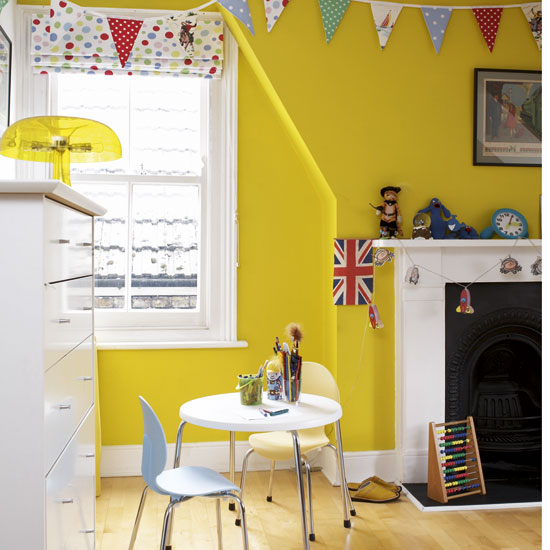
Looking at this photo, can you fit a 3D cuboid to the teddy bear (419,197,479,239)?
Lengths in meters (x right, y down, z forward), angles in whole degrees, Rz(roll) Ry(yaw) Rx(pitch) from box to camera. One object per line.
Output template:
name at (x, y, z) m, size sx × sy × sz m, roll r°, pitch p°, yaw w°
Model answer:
teddy bear at (0.940, -0.291, 3.561) m, size 0.350 × 0.303 × 0.172 m, roll 4°, pitch -3°, yaw 3°

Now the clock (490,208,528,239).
clock at (1.310, -0.291, 3.597) m, size 0.240 × 0.160 × 0.089 m, roll -2°, pitch 5°, yaw -19°

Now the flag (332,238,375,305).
flag at (0.428, -0.023, 3.539) m, size 0.258 × 0.511 × 0.022 m, roll 0°, pitch 2°, yaw -3°

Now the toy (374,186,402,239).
toy at (0.611, -0.346, 3.560) m, size 0.151 × 0.275 × 0.084 m, roll 1°, pitch 5°, yaw 11°

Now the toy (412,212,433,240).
toy at (0.804, -0.270, 3.542) m, size 0.109 × 0.151 × 0.111 m, roll 5°, pitch 1°, yaw 15°

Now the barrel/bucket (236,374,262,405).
barrel/bucket at (-0.117, 0.475, 2.780) m, size 0.094 × 0.119 × 0.140 m, roll -3°, pitch 6°, yaw -27°

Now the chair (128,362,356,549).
chair at (-0.032, 0.647, 2.841) m, size 0.664 × 0.889 × 0.679 m, roll 0°, pitch -3°, yaw 39°
